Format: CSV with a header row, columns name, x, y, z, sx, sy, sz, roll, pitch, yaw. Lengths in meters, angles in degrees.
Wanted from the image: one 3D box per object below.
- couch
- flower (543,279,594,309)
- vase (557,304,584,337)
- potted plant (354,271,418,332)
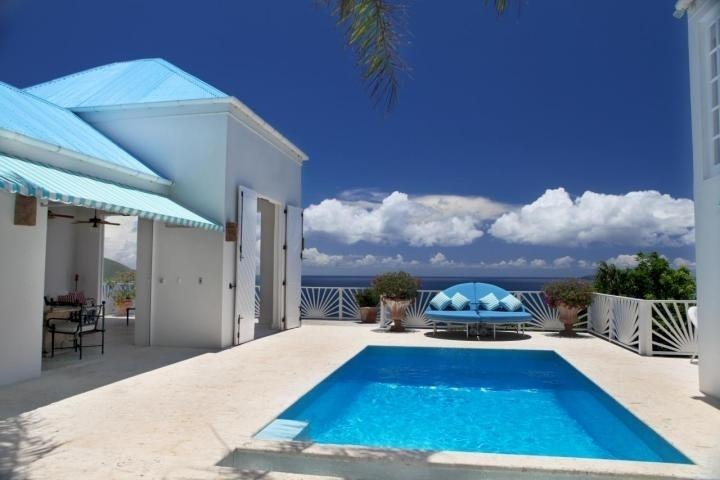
name,x,y,z,sx,sy,sz,roll,pitch,yaw
couch,3.494,2.102,13.077,2.804,1.446,2.083,1,2,12
flower,6.067,1.488,12.688,0.960,0.712,0.926,-3,-1,40
vase,6.090,2.279,12.762,0.662,0.939,0.588,1,2,-3
potted plant,0.856,1.920,14.691,1.270,1.909,2.581,0,2,-21
